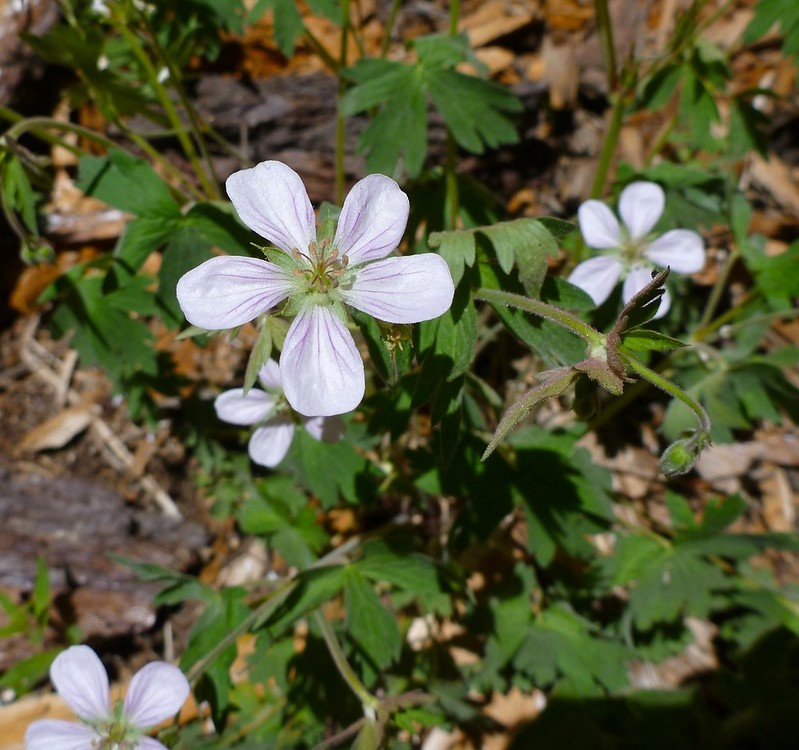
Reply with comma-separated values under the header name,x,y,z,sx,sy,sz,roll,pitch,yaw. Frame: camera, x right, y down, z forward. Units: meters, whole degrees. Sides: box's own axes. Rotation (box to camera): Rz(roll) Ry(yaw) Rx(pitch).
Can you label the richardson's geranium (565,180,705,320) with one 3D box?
name,x,y,z,sx,sy,sz,roll,pitch,yaw
richardson's geranium,1.169,-0.675,4.469,0.755,0.429,0.522,-24,83,-3
